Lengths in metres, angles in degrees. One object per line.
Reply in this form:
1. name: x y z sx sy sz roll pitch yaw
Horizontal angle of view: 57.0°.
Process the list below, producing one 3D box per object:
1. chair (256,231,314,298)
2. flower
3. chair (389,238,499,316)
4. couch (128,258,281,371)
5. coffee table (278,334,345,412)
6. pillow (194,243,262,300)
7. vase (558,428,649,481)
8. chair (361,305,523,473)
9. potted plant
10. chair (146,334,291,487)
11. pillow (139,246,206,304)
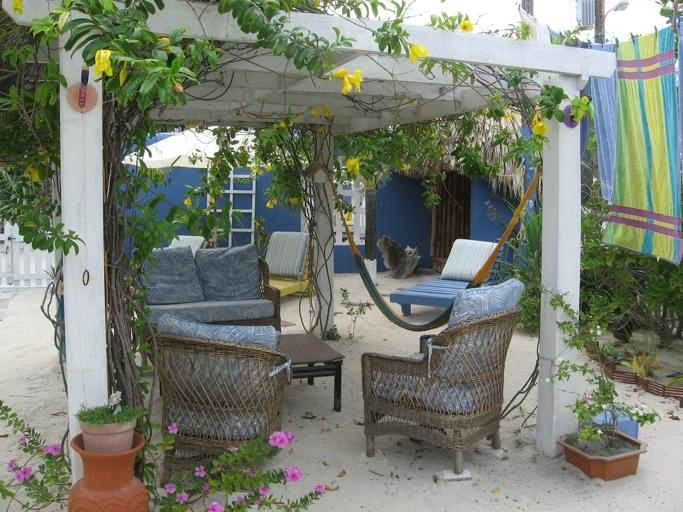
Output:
1. chair: -0.736 0.279 8.555 0.615 0.908 0.956 7 25 -21
2. flower: 1.908 0.813 4.640 0.788 1.208 0.420 13 -34 -23
3. chair: 1.328 0.304 7.802 0.804 0.886 1.543 5 9 36
4. couch: -1.167 0.546 6.516 1.421 1.134 0.814 0 -6 -13
5. coffee table: -0.212 0.808 5.020 0.561 0.381 0.733 2 7 -12
6. pillow: -1.163 0.143 6.465 0.548 0.573 0.212 0 -17 -7
7. vase: 1.678 1.276 4.046 0.429 0.187 0.498 -5 4 -7
8. chair: 0.691 0.836 4.439 1.019 1.109 0.910 0 0 38
9. potted plant: -1.218 0.909 3.231 0.310 0.250 0.319 7 -3 6
10. chair: -0.687 0.790 3.982 0.890 0.993 0.766 2 6 9
11. pillow: -1.600 0.200 6.191 0.709 0.709 0.263 3 -7 -31
